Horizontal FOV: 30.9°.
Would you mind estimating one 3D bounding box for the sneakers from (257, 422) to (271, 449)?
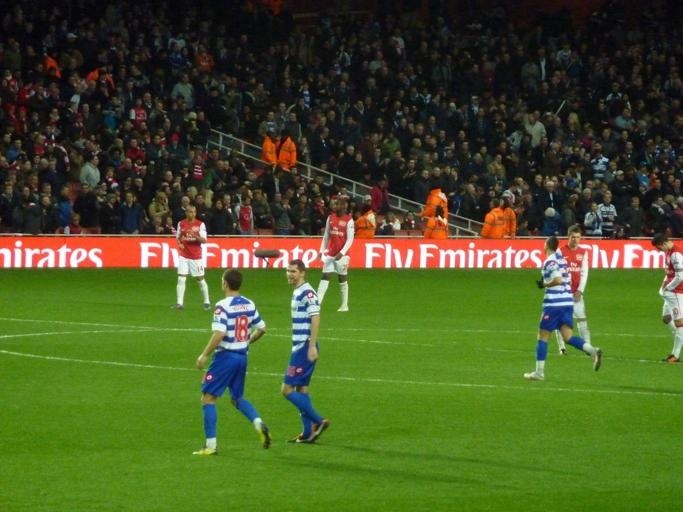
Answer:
[{"bbox_3d":[-1.249,2.926,19.910,0.148,0.471,0.216,-7,-7,-28],"label":"sneakers"}]

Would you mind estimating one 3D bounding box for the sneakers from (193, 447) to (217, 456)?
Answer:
[{"bbox_3d":[-2.200,3.205,20.089,0.235,0.080,0.177,1,-2,3],"label":"sneakers"}]

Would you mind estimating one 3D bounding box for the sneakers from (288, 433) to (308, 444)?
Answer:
[{"bbox_3d":[-0.749,3.091,20.766,0.374,0.180,0.135,2,-5,8],"label":"sneakers"}]

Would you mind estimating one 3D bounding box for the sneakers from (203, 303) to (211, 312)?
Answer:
[{"bbox_3d":[-3.319,1.274,30.543,0.081,0.177,0.251,2,5,4],"label":"sneakers"}]

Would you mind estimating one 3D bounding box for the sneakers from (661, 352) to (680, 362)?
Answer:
[{"bbox_3d":[6.983,2.172,26.053,0.297,0.154,0.169,3,-4,-17],"label":"sneakers"}]

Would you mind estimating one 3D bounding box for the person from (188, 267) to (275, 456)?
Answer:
[{"bbox_3d":[-1.792,1.751,20.227,1.266,2.935,1.145,0,10,-6],"label":"person"}]

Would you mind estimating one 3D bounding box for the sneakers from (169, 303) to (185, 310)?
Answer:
[{"bbox_3d":[-4.057,1.281,30.484,0.261,0.115,0.143,3,4,25],"label":"sneakers"}]

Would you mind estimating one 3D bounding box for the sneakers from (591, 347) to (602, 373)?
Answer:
[{"bbox_3d":[4.948,2.011,23.896,0.158,0.461,0.245,4,11,18],"label":"sneakers"}]

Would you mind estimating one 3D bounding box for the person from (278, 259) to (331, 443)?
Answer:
[{"bbox_3d":[-0.624,1.614,20.699,0.750,2.991,0.824,0,10,-3],"label":"person"}]

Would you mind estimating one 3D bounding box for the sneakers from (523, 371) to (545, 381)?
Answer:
[{"bbox_3d":[3.739,2.358,24.018,0.419,0.202,0.162,5,5,23],"label":"sneakers"}]
